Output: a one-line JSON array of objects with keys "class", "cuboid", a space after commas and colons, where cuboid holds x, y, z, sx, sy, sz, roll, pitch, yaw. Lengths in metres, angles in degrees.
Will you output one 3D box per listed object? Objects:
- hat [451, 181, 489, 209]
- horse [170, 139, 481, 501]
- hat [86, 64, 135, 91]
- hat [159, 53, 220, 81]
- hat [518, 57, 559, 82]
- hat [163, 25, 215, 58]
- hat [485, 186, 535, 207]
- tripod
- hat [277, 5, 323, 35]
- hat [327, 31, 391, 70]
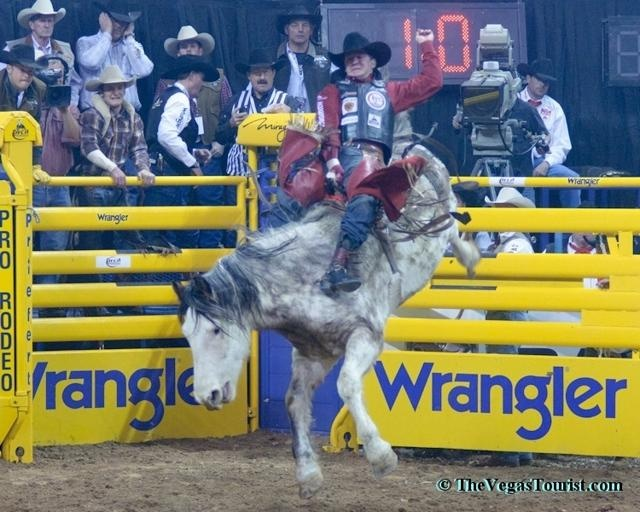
[{"class": "hat", "cuboid": [1.457, -0.597, 15.754, 0.388, 0.227, 0.246, -3, 24, -31]}, {"class": "horse", "cuboid": [0.071, 0.547, 13.657, 2.444, 2.872, 0.833, -4, 6, -35]}, {"class": "hat", "cuboid": [-2.198, -1.836, 16.744, 0.516, 0.281, 0.746, -1, 5, -7]}, {"class": "hat", "cuboid": [-1.306, -1.952, 16.816, 0.468, 0.155, 0.386, -7, 3, -32]}, {"class": "hat", "cuboid": [2.503, -2.083, 18.115, 0.262, 0.211, 0.385, 0, 2, -40]}, {"class": "hat", "cuboid": [-1.444, -2.312, 17.625, 0.390, 0.157, 0.408, -3, -25, -16]}, {"class": "hat", "cuboid": [1.859, -0.534, 15.356, 0.272, 0.087, 0.286, 10, 4, -36]}, {"class": "tripod", "cuboid": [2.079, -1.159, 17.332, 0.900, 1.005, 0.855, 0, -27, 7]}, {"class": "hat", "cuboid": [-0.218, -2.660, 17.810, 0.385, 0.152, 0.423, 1, -19, -3]}, {"class": "hat", "cuboid": [0.367, -1.818, 14.303, 0.568, 0.311, 0.422, 0, 5, 8]}]
